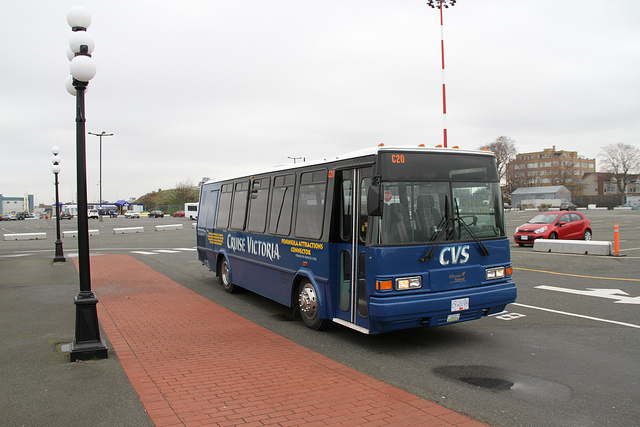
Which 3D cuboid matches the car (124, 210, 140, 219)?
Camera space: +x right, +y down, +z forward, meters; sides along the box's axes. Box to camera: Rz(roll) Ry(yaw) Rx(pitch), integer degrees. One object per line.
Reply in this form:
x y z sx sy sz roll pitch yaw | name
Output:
-37.207 0.376 88.429 1.809 1.155 2.756 -4 5 -41 | car

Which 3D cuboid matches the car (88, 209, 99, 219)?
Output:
-40.184 0.293 79.197 2.159 2.213 3.684 0 -2 -34 | car

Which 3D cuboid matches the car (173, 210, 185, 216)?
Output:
-28.085 0.087 89.372 1.592 0.746 2.331 0 -2 -36 | car

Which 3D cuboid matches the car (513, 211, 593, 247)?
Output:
12.255 0.872 23.263 3.739 1.874 1.878 -1 4 -11 | car

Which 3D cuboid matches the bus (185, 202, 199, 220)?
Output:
-21.492 -0.259 74.560 2.385 2.212 3.211 -3 5 -37 | bus
